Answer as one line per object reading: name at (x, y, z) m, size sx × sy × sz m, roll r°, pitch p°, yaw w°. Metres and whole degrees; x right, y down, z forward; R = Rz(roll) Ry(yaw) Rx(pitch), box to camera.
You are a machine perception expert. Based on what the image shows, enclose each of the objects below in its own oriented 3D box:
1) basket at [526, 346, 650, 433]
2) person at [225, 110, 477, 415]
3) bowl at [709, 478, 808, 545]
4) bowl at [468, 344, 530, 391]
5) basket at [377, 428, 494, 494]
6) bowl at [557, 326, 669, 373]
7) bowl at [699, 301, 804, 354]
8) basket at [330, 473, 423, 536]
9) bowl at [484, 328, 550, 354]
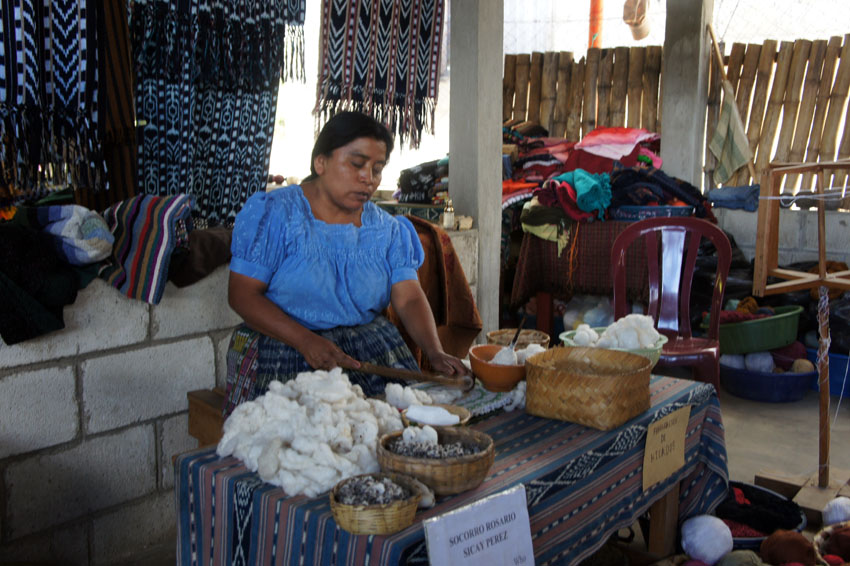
basket at (0.598, 0.380, 2.512) m, size 0.340 × 0.209 × 0.446 m, roll -16°, pitch 15°, yaw -42°
person at (-0.384, -0.015, 3.182) m, size 1.128 × 1.543 × 0.871 m, roll 6°, pitch 11°, yaw -11°
bowl at (1.615, 1.129, 3.284) m, size 0.483 × 0.128 × 0.371 m, roll -8°, pitch 14°, yaw -19°
bowl at (0.292, 0.348, 2.668) m, size 0.237 × 0.157 × 0.247 m, roll 0°, pitch 8°, yaw 0°
basket at (0.035, 0.497, 1.989) m, size 0.221 × 0.090 × 0.221 m, roll -6°, pitch 9°, yaw -40°
bowl at (0.878, 0.273, 2.995) m, size 0.440 × 0.182 × 0.467 m, roll -3°, pitch 16°, yaw 1°
bowl at (2.637, 0.381, 5.272) m, size 0.673 × 0.259 × 0.664 m, roll -10°, pitch -2°, yaw 0°
basket at (-0.153, 0.628, 1.908) m, size 0.259 × 0.099 × 0.277 m, roll -5°, pitch 10°, yaw -27°
bowl at (0.397, 0.256, 2.891) m, size 0.231 × 0.100 × 0.242 m, roll 2°, pitch 1°, yaw 0°
